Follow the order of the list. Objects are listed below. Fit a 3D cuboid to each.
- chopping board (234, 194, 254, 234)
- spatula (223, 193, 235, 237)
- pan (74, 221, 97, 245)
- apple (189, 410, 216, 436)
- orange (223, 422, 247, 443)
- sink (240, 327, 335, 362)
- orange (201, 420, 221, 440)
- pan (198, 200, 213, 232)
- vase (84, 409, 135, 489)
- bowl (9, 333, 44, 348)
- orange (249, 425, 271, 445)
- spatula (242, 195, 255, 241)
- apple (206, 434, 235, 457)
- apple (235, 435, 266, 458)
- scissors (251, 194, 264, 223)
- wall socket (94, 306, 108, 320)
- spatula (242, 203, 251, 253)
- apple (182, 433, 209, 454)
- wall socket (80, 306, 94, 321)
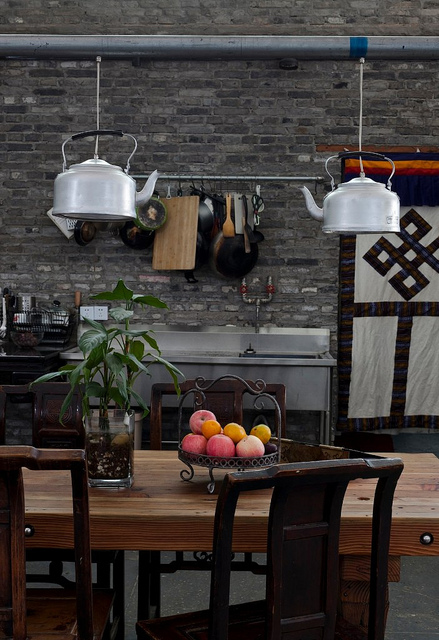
[{"bbox_3d":[0.157,-0.631,4.606,0.146,0.236,0.024,5,11,31],"label":"chopping board"},{"bbox_3d":[0.056,-0.623,4.578,0.062,0.252,0.081,3,6,30],"label":"spatula"},{"bbox_3d":[-0.820,-0.538,4.689,0.044,0.176,0.192,7,10,38],"label":"pan"},{"bbox_3d":[-0.040,0.267,1.997,0.060,0.053,0.055,0,-15,-4],"label":"apple"},{"bbox_3d":[0.029,0.293,1.972,0.051,0.045,0.048,33,18,21],"label":"orange"},{"bbox_3d":[0.408,0.155,4.524,0.577,0.166,0.636,1,5,1],"label":"sink"},{"bbox_3d":[-0.020,0.275,1.946,0.049,0.043,0.045,-1,12,2],"label":"orange"},{"bbox_3d":[-0.088,-0.642,4.671,0.072,0.139,0.175,-13,14,-18],"label":"pan"},{"bbox_3d":[-0.281,0.340,2.061,0.125,0.203,0.134,0,7,-1],"label":"vase"},{"bbox_3d":[-1.122,0.117,4.463,0.179,0.098,0.199,-1,5,-13],"label":"bowl"},{"bbox_3d":[0.108,0.289,1.965,0.053,0.054,0.047,-6,33,17],"label":"orange"},{"bbox_3d":[0.170,-0.611,4.578,0.068,0.275,0.162,0,5,-12],"label":"spatula"},{"bbox_3d":[0.004,0.308,1.885,0.055,0.049,0.054,-6,-10,37],"label":"apple"},{"bbox_3d":[0.074,0.309,1.894,0.054,0.049,0.050,-13,-2,-18],"label":"apple"},{"bbox_3d":[0.224,-0.674,4.593,0.073,0.143,0.032,-2,2,5],"label":"scissors"},{"bbox_3d":[-0.746,-0.045,4.822,0.082,0.083,0.020,0,5,-9],"label":"wall socket"},{"bbox_3d":[0.164,-0.533,4.627,0.036,0.217,0.035,-5,8,-17],"label":"spatula"},{"bbox_3d":[-0.062,0.307,1.942,0.054,0.043,0.050,3,8,-17],"label":"apple"},{"bbox_3d":[-0.753,-0.043,4.359,0.099,0.083,0.064,0,-1,0],"label":"wall socket"}]
